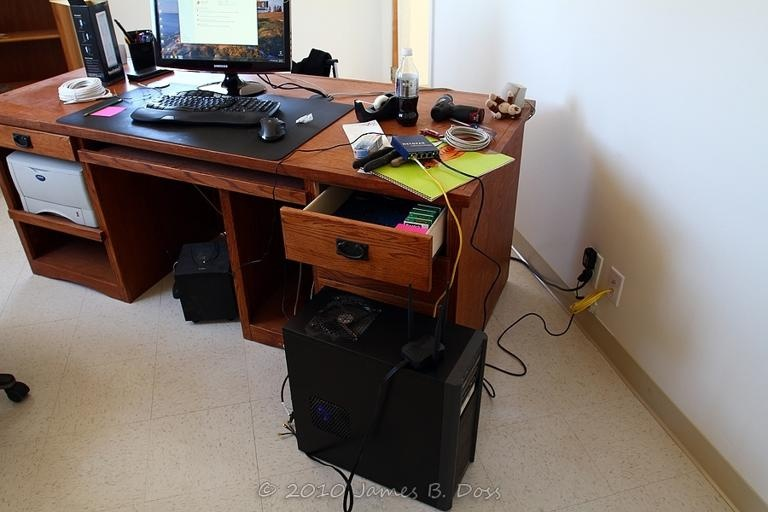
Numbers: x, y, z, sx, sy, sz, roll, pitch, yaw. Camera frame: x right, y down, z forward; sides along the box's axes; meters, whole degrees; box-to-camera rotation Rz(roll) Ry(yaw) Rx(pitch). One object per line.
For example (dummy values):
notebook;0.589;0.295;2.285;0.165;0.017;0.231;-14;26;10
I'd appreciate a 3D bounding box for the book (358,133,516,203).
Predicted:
book;0.209;-0.310;1.953;0.437;0.088;0.259;-24;38;-37

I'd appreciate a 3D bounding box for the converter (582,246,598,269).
converter;0.913;0.004;2.429;0.052;0.095;0.060;-16;35;-13

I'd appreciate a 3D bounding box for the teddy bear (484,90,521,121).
teddy bear;0.499;-0.625;2.286;0.090;0.131;0.147;-9;27;-44

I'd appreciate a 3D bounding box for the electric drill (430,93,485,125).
electric drill;0.308;-0.609;2.272;0.216;0.075;0.184;6;30;8

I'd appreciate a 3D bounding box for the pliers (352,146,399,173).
pliers;-0.018;-0.354;1.951;0.067;0.040;0.204;15;31;41
